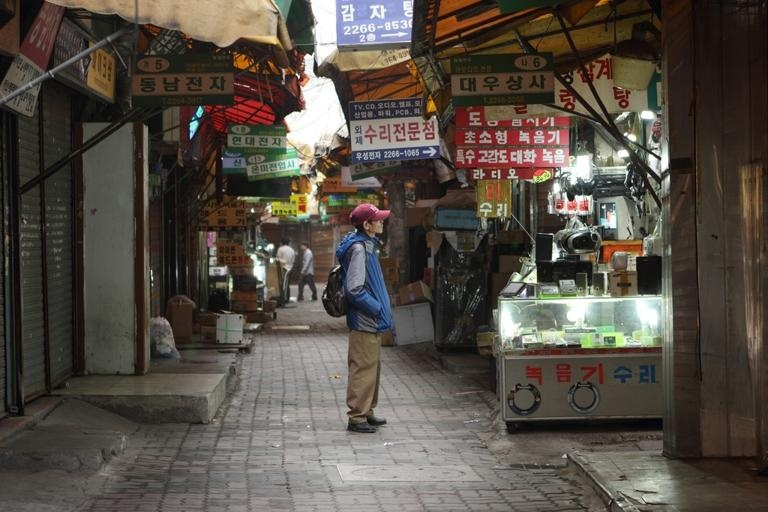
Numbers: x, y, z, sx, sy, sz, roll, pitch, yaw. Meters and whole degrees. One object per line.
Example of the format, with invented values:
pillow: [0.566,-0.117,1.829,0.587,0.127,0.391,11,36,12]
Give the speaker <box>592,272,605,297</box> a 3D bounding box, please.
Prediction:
speaker: [2.550,0.329,9.928,0.155,0.254,0.155,0,0,-16]

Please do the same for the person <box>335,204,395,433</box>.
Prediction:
person: [-0.226,0.678,9.480,0.634,2.542,0.489,0,0,-4]

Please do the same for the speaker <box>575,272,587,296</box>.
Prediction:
speaker: [2.328,0.328,9.896,0.141,0.270,0.244,0,-1,12]

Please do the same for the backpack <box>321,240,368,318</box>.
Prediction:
backpack: [-0.588,0.231,9.550,0.416,0.900,0.698,-1,-2,-28]

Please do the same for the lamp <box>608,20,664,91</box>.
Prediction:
lamp: [2.734,-2.230,9.192,0.585,0.688,0.546,5,21,-4]

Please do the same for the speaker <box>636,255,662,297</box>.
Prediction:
speaker: [3.027,0.218,9.602,0.281,0.440,0.167,0,0,8]

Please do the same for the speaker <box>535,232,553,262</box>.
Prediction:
speaker: [2.139,-0.124,11.218,0.222,0.345,0.290,0,-1,7]

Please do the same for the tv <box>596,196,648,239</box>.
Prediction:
tv: [5.127,-0.849,18.097,1.215,1.129,0.656,-2,-4,21]

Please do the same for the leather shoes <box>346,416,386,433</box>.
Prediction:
leather shoes: [-0.181,1.881,9.370,0.443,0.187,0.150,-6,-5,18]
